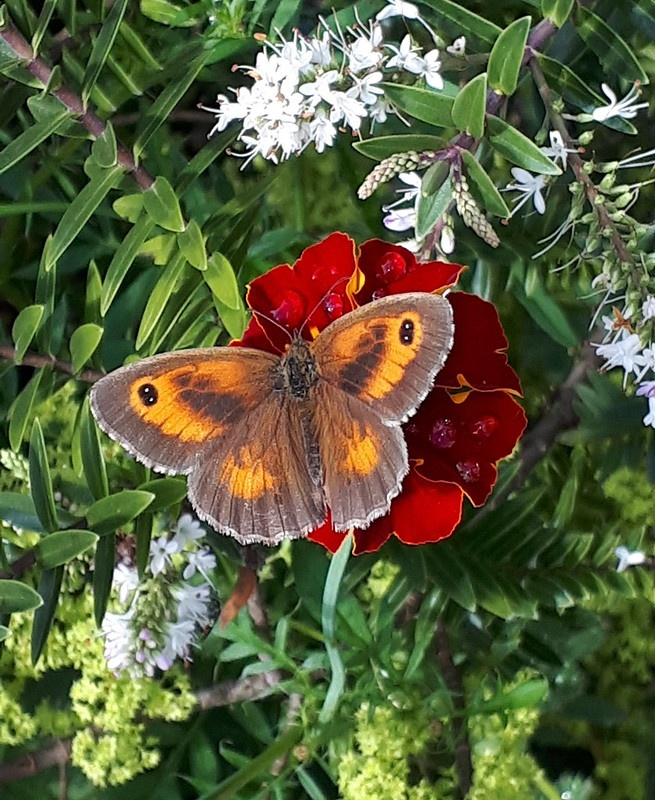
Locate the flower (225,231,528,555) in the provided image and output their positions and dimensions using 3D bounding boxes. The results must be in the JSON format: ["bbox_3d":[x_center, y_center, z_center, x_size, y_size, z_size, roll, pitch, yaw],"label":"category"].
[{"bbox_3d":[0.121,-0.044,0.898,0.359,0.134,0.356,-31,86,22],"label":"flower"}]

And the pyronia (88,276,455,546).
[{"bbox_3d":[-0.046,0.024,0.888,0.499,0.111,0.255,-5,86,33],"label":"pyronia"}]
